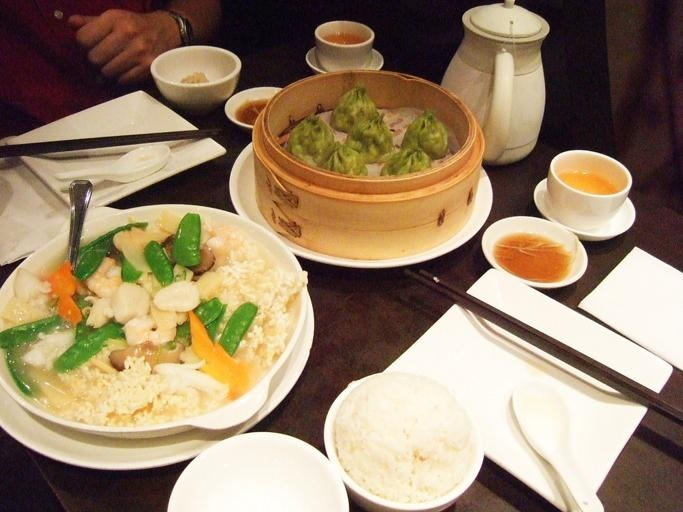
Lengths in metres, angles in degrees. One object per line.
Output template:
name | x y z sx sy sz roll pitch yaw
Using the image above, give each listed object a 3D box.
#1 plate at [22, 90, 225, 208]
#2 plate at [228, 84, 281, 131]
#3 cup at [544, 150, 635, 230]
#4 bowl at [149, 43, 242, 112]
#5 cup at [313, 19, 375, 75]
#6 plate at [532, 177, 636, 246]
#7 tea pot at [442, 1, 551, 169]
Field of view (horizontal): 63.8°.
plate | -0.951 -0.438 2.279 0.591 0.085 0.595 -36 61 -26
plate | -0.414 -0.704 2.589 0.233 0.061 0.264 -3 55 -3
cup | 0.934 -0.265 2.118 0.291 0.200 0.295 -3 61 6
bowl | -0.688 -0.857 2.628 0.456 0.354 0.379 -18 36 -27
cup | 0.027 -1.043 2.833 0.315 0.204 0.309 2 51 -3
plate | 0.985 -0.247 2.196 0.294 0.242 0.460 -11 27 -23
tea pot | 0.637 -0.687 2.266 0.334 0.663 0.400 -12 35 -26
